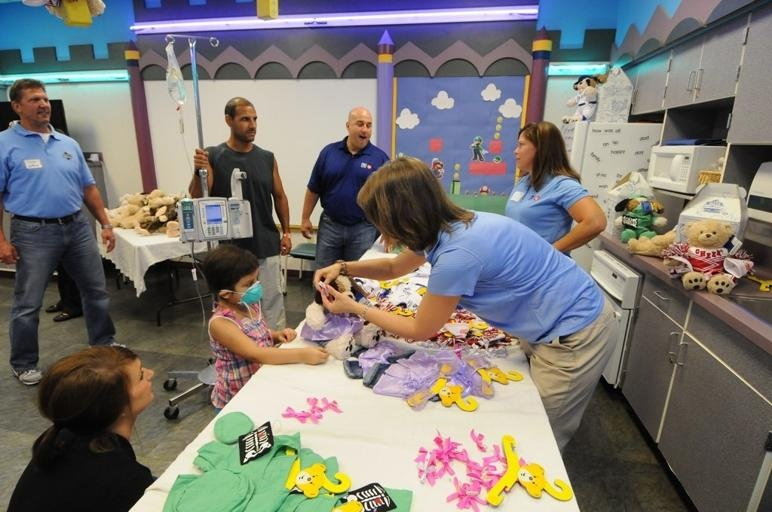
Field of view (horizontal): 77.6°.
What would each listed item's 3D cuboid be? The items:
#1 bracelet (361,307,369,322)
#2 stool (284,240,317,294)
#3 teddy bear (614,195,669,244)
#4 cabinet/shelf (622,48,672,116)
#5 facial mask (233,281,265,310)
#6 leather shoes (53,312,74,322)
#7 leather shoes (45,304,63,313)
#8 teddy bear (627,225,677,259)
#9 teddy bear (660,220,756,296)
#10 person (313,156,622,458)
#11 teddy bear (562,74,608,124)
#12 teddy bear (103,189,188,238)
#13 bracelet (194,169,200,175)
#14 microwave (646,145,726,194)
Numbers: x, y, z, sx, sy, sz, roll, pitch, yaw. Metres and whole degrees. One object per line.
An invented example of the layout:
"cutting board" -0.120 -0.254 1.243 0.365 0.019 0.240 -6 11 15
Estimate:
"bracelet" -0.112 0.303 2.468 0.027 0.065 0.052 5 -6 20
"stool" -0.857 0.126 5.235 0.392 0.370 0.323 10 10 29
"teddy bear" 1.820 -0.270 3.487 0.233 0.380 0.392 9 -9 -37
"cabinet/shelf" 2.243 -1.545 4.243 0.659 0.450 0.351 -20 30 -20
"facial mask" -0.762 0.222 2.685 0.137 0.104 0.128 -13 12 -7
"leather shoes" -3.129 0.589 4.677 0.082 0.063 0.205 1 -3 -8
"leather shoes" -3.400 0.532 4.877 0.214 0.084 0.077 1 2 -11
"teddy bear" 1.785 -0.091 3.260 0.276 0.117 0.160 -16 24 31
"teddy bear" 1.896 -0.016 2.857 0.436 0.413 0.282 4 17 27
"person" 0.500 0.506 2.731 1.510 2.123 0.718 -8 21 7
"teddy bear" 1.811 -1.440 4.380 0.324 0.436 0.431 3 14 10
"teddy bear" -2.246 -0.368 4.573 0.617 0.359 0.826 -11 17 -9
"bracelet" -1.361 -0.613 3.457 0.053 0.051 0.064 -2 2 -13
"microwave" 2.177 -0.638 3.527 0.322 0.337 0.471 -1 15 -2
